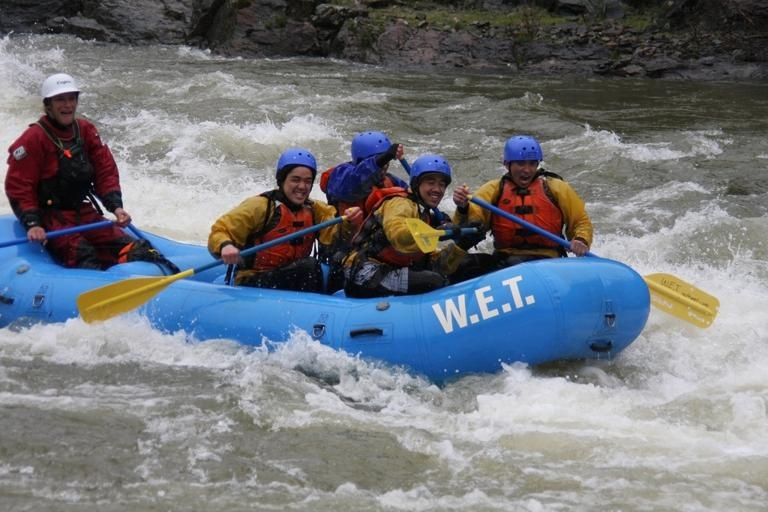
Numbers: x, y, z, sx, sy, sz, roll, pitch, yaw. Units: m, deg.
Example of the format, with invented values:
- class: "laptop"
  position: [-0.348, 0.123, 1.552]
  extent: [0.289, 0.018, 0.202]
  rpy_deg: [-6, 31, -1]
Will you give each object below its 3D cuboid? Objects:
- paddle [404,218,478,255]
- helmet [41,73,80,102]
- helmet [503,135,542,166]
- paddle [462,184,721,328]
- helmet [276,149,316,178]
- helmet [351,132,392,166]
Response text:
- class: "paddle"
  position: [0.611, -0.229, 7.845]
  extent: [0.100, 0.380, 1.084]
  rpy_deg: [-41, 22, -31]
- class: "helmet"
  position: [-3.547, -1.860, 9.015]
  extent: [0.351, 0.286, 0.349]
  rpy_deg: [-1, 13, -18]
- class: "helmet"
  position: [1.462, -1.140, 8.840]
  extent: [0.314, 0.259, 0.368]
  rpy_deg: [-1, 15, -4]
- class: "paddle"
  position: [2.224, 0.035, 8.937]
  extent: [3.965, 0.602, 0.243]
  rpy_deg: [24, -6, 4]
- class: "helmet"
  position: [-0.942, -0.991, 8.697]
  extent: [0.326, 0.256, 0.366]
  rpy_deg: [5, 5, -15]
- class: "helmet"
  position: [-0.187, -1.267, 9.346]
  extent: [0.476, 0.289, 0.320]
  rpy_deg: [4, 10, 15]
